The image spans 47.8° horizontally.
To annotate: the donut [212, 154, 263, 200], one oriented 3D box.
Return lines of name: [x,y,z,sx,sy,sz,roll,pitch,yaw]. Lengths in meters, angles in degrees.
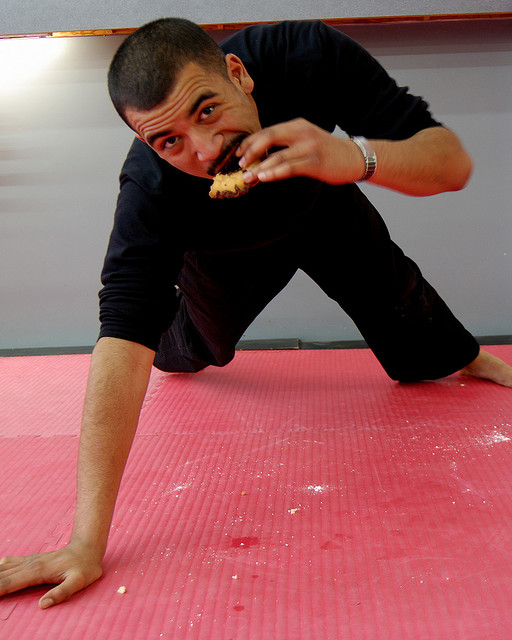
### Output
donut: [-0.037,-0.243,0.985,0.074,0.028,0.084,-27,17,-16]
